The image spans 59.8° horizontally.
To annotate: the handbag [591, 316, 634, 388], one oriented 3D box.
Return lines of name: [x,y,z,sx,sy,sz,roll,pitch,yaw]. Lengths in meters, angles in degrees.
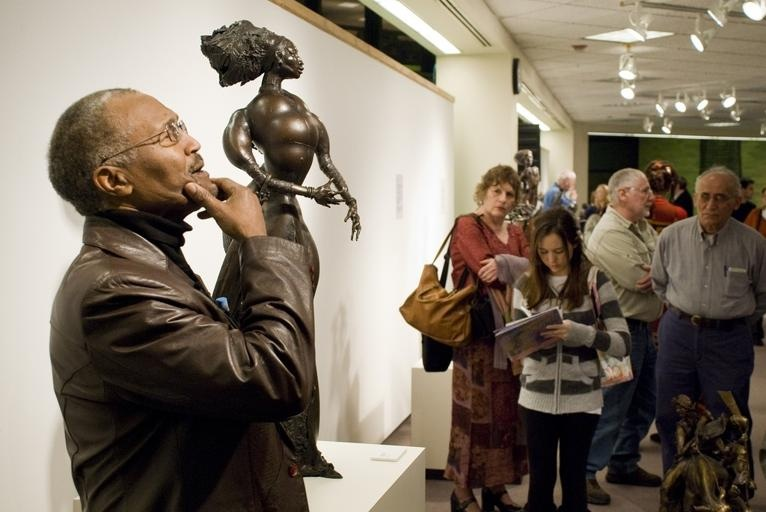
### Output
handbag: [1.215,0.536,3.570,0.233,0.285,0.105,4,-23,-25]

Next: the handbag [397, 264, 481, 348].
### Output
handbag: [0.355,0.291,4.010,0.287,0.417,0.516,-13,25,-40]

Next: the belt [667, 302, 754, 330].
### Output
belt: [2.035,0.386,4.157,0.505,0.143,0.211,-3,2,23]

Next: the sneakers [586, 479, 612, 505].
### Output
sneakers: [1.393,1.566,4.405,0.099,0.102,0.228,1,-5,-16]

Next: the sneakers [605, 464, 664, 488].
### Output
sneakers: [1.735,1.553,4.712,0.429,0.165,0.149,-1,-3,12]

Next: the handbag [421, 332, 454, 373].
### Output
handbag: [0.310,0.610,4.179,0.223,0.236,0.407,1,-4,-3]
